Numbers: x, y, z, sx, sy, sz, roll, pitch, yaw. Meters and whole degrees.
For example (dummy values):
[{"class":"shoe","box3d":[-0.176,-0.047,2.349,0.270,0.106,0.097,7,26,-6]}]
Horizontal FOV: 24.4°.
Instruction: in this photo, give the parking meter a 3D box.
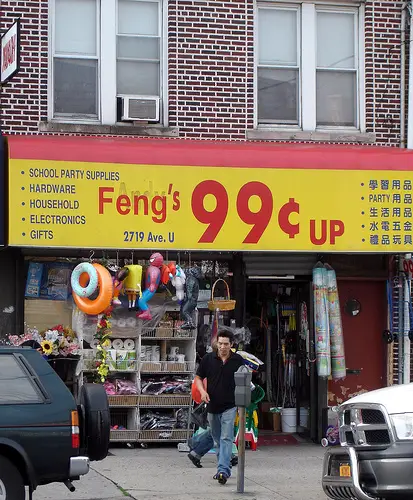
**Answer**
[{"class":"parking meter","box3d":[0.396,1.979,10.627,0.187,1.381,0.355,0,-3,2]}]

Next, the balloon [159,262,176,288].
[{"class":"balloon","box3d":[-0.566,0.342,13.236,0.094,0.298,0.206,5,17,-34]}]

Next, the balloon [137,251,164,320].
[{"class":"balloon","box3d":[-0.793,0.495,13.189,0.226,0.918,0.271,10,-3,-14]}]

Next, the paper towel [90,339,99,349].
[{"class":"paper towel","box3d":[-1.546,1.290,13.231,0.035,0.140,0.123,0,1,35]}]

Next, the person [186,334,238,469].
[{"class":"person","box3d":[0.122,1.883,11.504,0.582,1.989,0.550,10,25,11]}]

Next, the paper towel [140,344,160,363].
[{"class":"paper towel","box3d":[-0.816,1.465,13.601,0.192,0.253,0.218,1,-2,0]}]

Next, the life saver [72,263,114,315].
[{"class":"life saver","box3d":[-1.548,0.516,12.757,0.576,0.671,0.334,-1,-3,12]}]

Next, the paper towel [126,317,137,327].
[{"class":"paper towel","box3d":[-1.063,1.007,13.408,0.108,0.132,0.072,8,-3,-5]}]

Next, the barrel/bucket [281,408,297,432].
[{"class":"barrel/bucket","box3d":[1.276,2.693,15.243,0.292,0.367,0.311,0,-1,0]}]

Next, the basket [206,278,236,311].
[{"class":"basket","box3d":[0.209,0.651,13.963,0.416,0.492,0.500,0,-3,1]}]

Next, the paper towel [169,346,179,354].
[{"class":"paper towel","box3d":[-0.471,1.444,13.833,0.090,0.115,0.094,0,4,-2]}]

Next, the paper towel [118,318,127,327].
[{"class":"paper towel","box3d":[-1.197,1.018,13.384,0.092,0.112,0.024,3,-9,-8]}]

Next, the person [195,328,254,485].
[{"class":"person","box3d":[0.208,1.844,11.210,0.526,1.813,0.706,4,-12,-21]}]

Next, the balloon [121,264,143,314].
[{"class":"balloon","box3d":[-1.012,0.493,13.085,0.299,0.594,0.189,-1,-6,41]}]

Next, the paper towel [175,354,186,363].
[{"class":"paper towel","box3d":[-0.382,1.545,13.736,0.105,0.087,0.117,2,7,-1]}]

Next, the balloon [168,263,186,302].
[{"class":"balloon","box3d":[-0.391,0.497,13.292,0.192,0.520,0.253,17,32,39]}]

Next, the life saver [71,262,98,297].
[{"class":"life saver","box3d":[-1.610,0.401,12.671,0.105,0.433,0.406,8,25,-45]}]

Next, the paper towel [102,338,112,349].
[{"class":"paper towel","box3d":[-1.385,1.301,13.179,0.030,0.147,0.132,22,9,35]}]

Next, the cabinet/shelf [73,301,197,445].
[{"class":"cabinet/shelf","box3d":[-0.999,1.658,12.792,1.623,2.383,0.799,1,-7,-14]}]

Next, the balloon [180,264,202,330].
[{"class":"balloon","box3d":[-0.248,0.658,13.402,0.219,0.895,0.321,3,2,2]}]
